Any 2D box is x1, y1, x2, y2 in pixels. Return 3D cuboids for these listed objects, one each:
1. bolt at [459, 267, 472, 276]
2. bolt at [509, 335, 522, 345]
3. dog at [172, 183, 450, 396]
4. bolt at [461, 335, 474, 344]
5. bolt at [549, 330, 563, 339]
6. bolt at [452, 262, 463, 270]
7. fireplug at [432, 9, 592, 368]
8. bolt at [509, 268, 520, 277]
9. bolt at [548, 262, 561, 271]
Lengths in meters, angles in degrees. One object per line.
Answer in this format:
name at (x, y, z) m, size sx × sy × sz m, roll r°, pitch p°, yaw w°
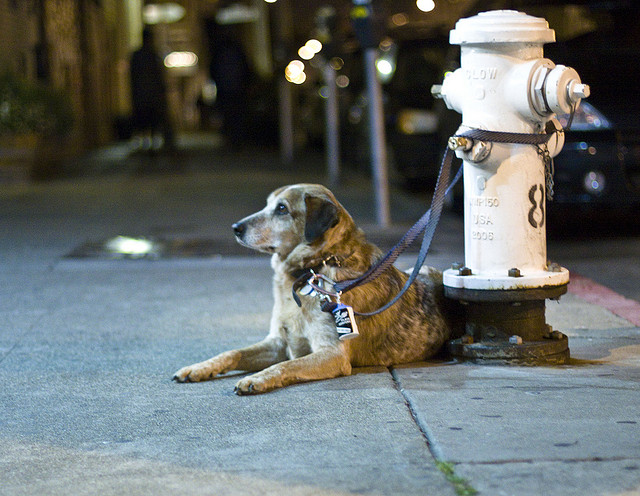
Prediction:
bolt at (0.934, 0.149, 6.012) m, size 0.055 × 0.034 × 0.052 m, roll 0°, pitch 1°, yaw -1°
bolt at (1.248, 0.581, 5.929) m, size 0.062 × 0.054 × 0.059 m, roll 1°, pitch -2°, yaw -9°
dog at (0.082, 0.200, 6.023) m, size 1.648 × 1.182 × 0.817 m, roll -3°, pitch 11°, yaw -10°
bolt at (0.962, 0.590, 6.054) m, size 0.057 × 0.039 × 0.054 m, roll 0°, pitch -3°, yaw -8°
bolt at (1.549, 0.557, 6.070) m, size 0.060 × 0.033 × 0.058 m, roll -2°, pitch 1°, yaw -37°
bolt at (0.901, 0.113, 6.114) m, size 0.051 × 0.032 × 0.049 m, roll 0°, pitch 0°, yaw 1°
fireplug at (1.216, -0.365, 5.947) m, size 0.849 × 2.257 × 0.505 m, roll -1°, pitch 11°, yaw 5°
bolt at (1.222, 0.151, 5.846) m, size 0.052 × 0.035 × 0.049 m, roll 0°, pitch 1°, yaw -15°
bolt at (1.531, 0.131, 6.100) m, size 0.066 × 0.017 × 0.062 m, roll -14°, pitch 27°, yaw -19°
